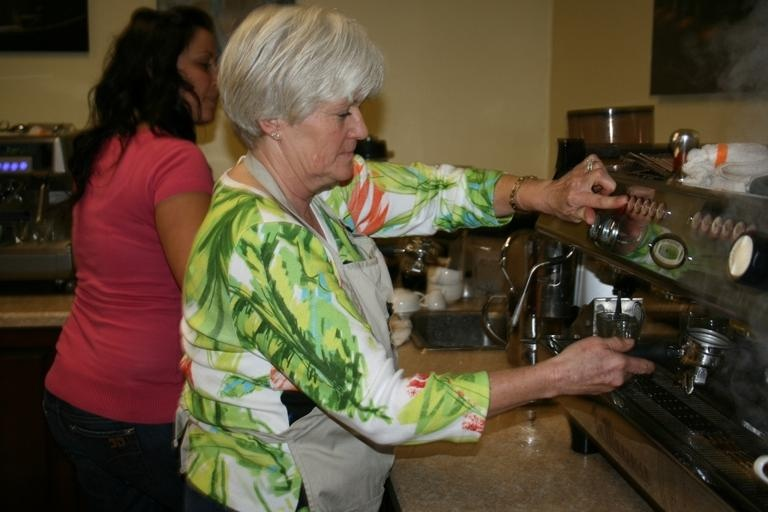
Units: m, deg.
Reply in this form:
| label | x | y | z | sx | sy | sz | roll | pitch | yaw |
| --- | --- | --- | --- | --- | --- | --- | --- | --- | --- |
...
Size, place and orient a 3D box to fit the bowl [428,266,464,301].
| label | x | y | z | sx | sy | sz | roll | pitch | yaw |
| --- | --- | --- | --- | --- | --- | --- | --- | --- | --- |
| bowl | 0.235 | 0.099 | 2.454 | 0.102 | 0.109 | 0.137 | 0 | -2 | -3 |

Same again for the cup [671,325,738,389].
| label | x | y | z | sx | sy | sz | roll | pitch | yaw |
| --- | --- | --- | --- | --- | --- | --- | --- | --- | --- |
| cup | 0.576 | 0.182 | 1.220 | 0.073 | 0.109 | 0.131 | -4 | 13 | -6 |

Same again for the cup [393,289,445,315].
| label | x | y | z | sx | sy | sz | roll | pitch | yaw |
| --- | --- | --- | --- | --- | --- | --- | --- | --- | --- |
| cup | 0.119 | 0.157 | 2.348 | 0.166 | 0.066 | 0.105 | 0 | 0 | -26 |

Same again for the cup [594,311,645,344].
| label | x | y | z | sx | sy | sz | roll | pitch | yaw |
| --- | --- | --- | --- | --- | --- | --- | --- | --- | --- |
| cup | 0.521 | 0.147 | 1.438 | 0.070 | 0.071 | 0.129 | 5 | -7 | 4 |
